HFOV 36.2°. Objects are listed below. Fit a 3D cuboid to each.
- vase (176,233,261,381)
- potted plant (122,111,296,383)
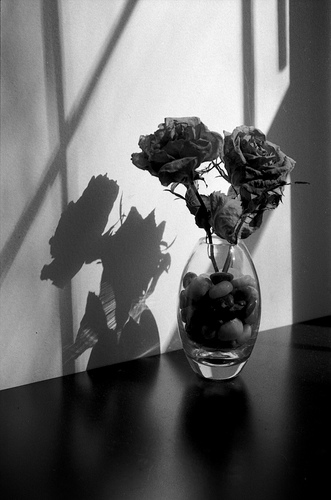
[{"bbox_3d":[0.103,0.099,0.926,0.141,0.236,0.135,1,4,-30],"label":"vase"},{"bbox_3d":[0.068,-0.026,1.008,0.300,0.513,0.392,0,8,2],"label":"potted plant"}]
